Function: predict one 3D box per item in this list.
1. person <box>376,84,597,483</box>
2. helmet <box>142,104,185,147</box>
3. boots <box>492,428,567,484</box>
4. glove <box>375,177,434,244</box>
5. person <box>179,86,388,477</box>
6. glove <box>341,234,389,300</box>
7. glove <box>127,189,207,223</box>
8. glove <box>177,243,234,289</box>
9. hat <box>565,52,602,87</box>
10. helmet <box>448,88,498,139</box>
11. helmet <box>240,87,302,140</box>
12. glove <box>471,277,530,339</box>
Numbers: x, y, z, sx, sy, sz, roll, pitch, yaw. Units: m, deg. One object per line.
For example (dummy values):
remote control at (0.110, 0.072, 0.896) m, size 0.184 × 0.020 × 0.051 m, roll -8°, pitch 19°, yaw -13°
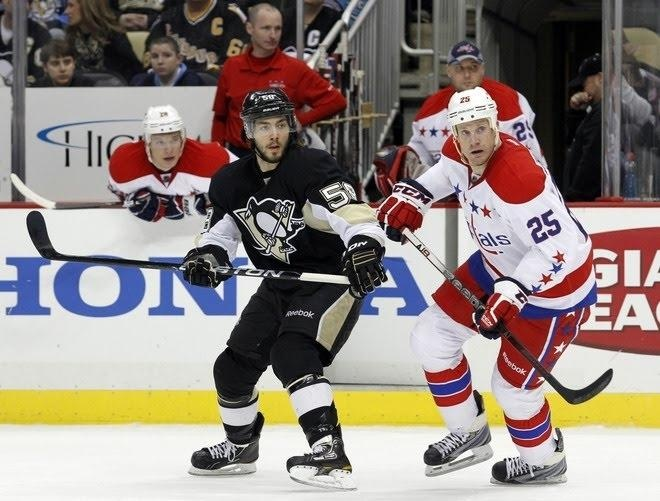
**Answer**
person at (0.735, 0.224, 4.768) m, size 1.080 × 1.769 × 0.880 m, roll 2°, pitch 11°, yaw -3°
helmet at (-0.880, -0.663, 5.541) m, size 0.165 × 0.193 × 0.209 m, roll -6°, pitch 9°, yaw -11°
boots at (0.904, 0.948, 4.914) m, size 0.365 × 0.241 × 0.182 m, roll 1°, pitch -2°, yaw 9°
glove at (0.329, -0.190, 4.875) m, size 0.235 × 0.283 × 0.128 m, roll 46°, pitch 11°, yaw 9°
person at (-0.179, 0.197, 4.624) m, size 0.910 × 1.749 × 0.492 m, roll 10°, pitch 17°, yaw 35°
glove at (0.144, 0.057, 4.360) m, size 0.199 × 0.235 × 0.104 m, roll -6°, pitch 1°, yaw -2°
glove at (-0.871, -0.240, 5.641) m, size 0.252 × 0.106 × 0.250 m, roll 1°, pitch -1°, yaw 21°
glove at (-0.546, 0.063, 4.701) m, size 0.185 × 0.094 × 0.199 m, roll 4°, pitch 45°, yaw -1°
hat at (1.467, -0.995, 6.077) m, size 0.244 × 0.138 × 0.153 m, roll -27°, pitch 13°, yaw 21°
helmet at (0.604, -0.602, 4.648) m, size 0.188 × 0.205 × 0.221 m, roll -15°, pitch 5°, yaw 17°
helmet at (-0.269, -0.603, 4.662) m, size 0.216 × 0.213 × 0.234 m, roll -14°, pitch 8°, yaw -7°
glove at (0.729, 0.240, 4.589) m, size 0.171 × 0.286 × 0.118 m, roll 39°, pitch 6°, yaw 12°
